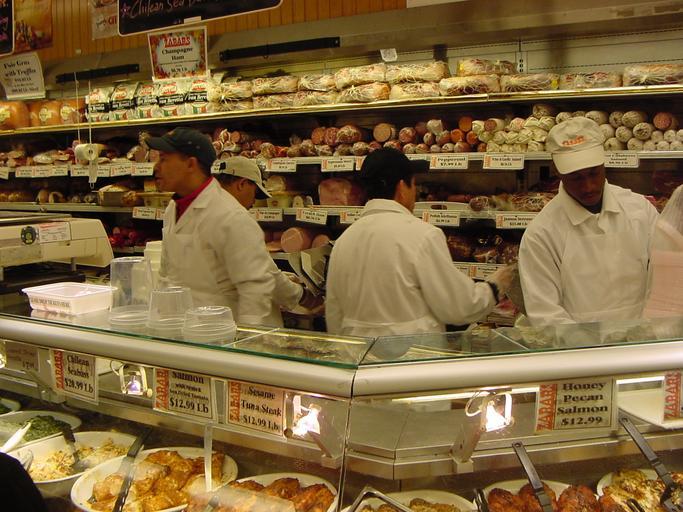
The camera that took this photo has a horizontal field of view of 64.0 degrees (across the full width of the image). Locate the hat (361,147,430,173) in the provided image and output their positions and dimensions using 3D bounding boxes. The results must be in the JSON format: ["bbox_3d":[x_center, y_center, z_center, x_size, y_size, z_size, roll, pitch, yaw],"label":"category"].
[{"bbox_3d":[0.280,-0.462,2.680,0.282,0.123,0.171,-16,16,-17],"label":"hat"}]

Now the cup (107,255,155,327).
[{"bbox_3d":[-0.708,0.120,1.843,0.152,0.211,0.270,-8,11,-19],"label":"cup"}]

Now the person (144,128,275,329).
[{"bbox_3d":[-0.644,-0.121,2.755,0.678,1.048,0.371,1,12,28],"label":"person"}]

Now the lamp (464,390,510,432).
[{"bbox_3d":[0.427,0.447,1.581,0.126,0.155,0.109,-3,10,9],"label":"lamp"}]

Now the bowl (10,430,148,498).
[{"bbox_3d":[-0.958,0.738,1.967,0.309,0.051,0.213,-3,7,-43],"label":"bowl"}]

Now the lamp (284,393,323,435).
[{"bbox_3d":[-0.121,0.460,1.571,0.151,0.121,0.035,2,5,-42],"label":"lamp"}]

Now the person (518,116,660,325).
[{"bbox_3d":[1.165,-0.171,2.542,0.661,0.952,0.305,-6,11,-6],"label":"person"}]

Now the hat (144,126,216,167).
[{"bbox_3d":[-0.799,-0.536,2.796,0.322,0.130,0.196,14,2,-22],"label":"hat"}]

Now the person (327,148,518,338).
[{"bbox_3d":[0.322,-0.059,2.567,0.838,0.908,0.389,-5,11,-3],"label":"person"}]

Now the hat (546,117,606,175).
[{"bbox_3d":[1.080,-0.511,2.505,0.235,0.267,0.198,-3,10,10],"label":"hat"}]

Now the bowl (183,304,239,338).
[{"bbox_3d":[-0.394,0.206,1.671,0.165,0.083,0.102,-9,11,-28],"label":"bowl"}]

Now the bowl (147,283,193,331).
[{"bbox_3d":[-0.534,0.169,1.721,0.156,0.121,0.139,1,-1,-2],"label":"bowl"}]
